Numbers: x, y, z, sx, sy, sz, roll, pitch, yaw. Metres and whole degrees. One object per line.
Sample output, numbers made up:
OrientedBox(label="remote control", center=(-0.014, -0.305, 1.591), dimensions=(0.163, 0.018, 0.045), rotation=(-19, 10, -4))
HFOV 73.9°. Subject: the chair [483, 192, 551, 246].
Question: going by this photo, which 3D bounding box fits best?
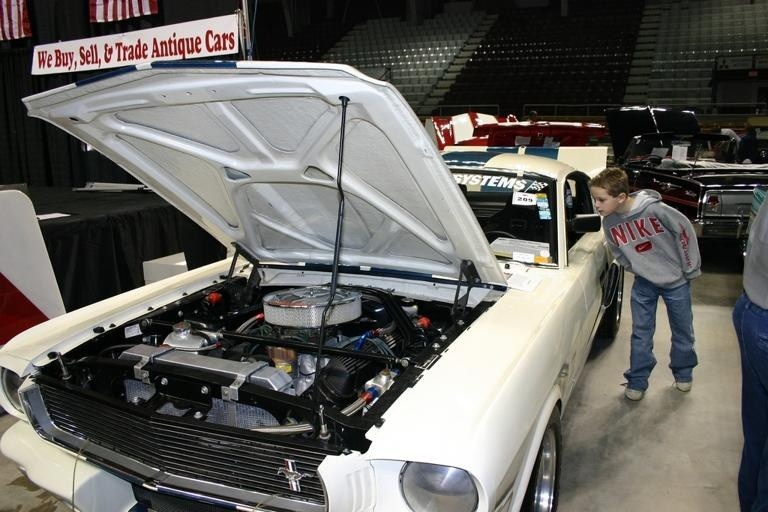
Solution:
OrientedBox(label="chair", center=(0.981, -0.307, 3.863), dimensions=(0.600, 0.332, 0.507), rotation=(3, 8, 7))
